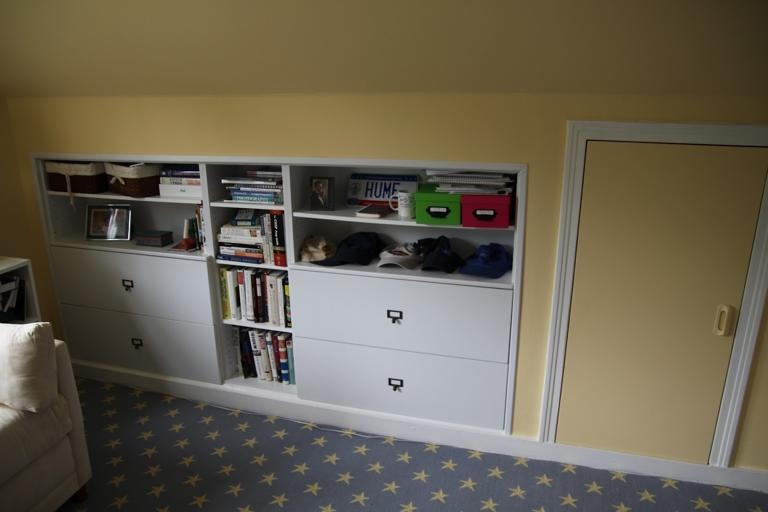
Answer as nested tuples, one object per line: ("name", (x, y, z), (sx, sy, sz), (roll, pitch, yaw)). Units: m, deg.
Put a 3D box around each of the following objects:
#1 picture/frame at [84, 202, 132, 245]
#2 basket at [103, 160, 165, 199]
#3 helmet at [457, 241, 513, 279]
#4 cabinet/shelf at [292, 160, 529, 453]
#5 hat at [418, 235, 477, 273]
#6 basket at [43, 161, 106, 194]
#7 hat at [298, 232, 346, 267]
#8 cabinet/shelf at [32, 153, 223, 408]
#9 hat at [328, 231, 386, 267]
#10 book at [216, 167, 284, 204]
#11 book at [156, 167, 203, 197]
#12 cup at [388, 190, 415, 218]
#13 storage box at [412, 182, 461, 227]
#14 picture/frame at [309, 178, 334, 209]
("picture/frame", (-1.700, -0.205, 3.408), (0.259, 0.227, 0.027), (0, -4, -6))
("basket", (-1.497, -0.464, 3.309), (0.312, 0.195, 0.216), (11, 18, 30))
("helmet", (0.557, 0.018, 2.970), (0.253, 0.114, 0.332), (10, 20, 27))
("cabinet/shelf", (0.178, 0.289, 2.970), (1.476, 1.647, 0.519), (2, 7, 14))
("hat", (0.291, -0.012, 3.091), (0.223, 0.165, 0.350), (8, 8, 23))
("basket", (-1.859, -0.478, 3.308), (0.371, 0.187, 0.111), (5, 12, 13))
("hat", (-0.355, -0.039, 3.137), (0.187, 0.063, 0.187), (7, 25, 9))
("cabinet/shelf", (-1.463, 0.058, 3.502), (1.227, 1.422, 0.498), (5, 16, 16))
("hat", (-0.143, -0.040, 3.088), (0.188, 0.093, 0.242), (17, 33, 36))
("book", (-0.754, -0.393, 3.107), (0.230, 0.177, 0.430), (-8, 15, -40))
("book", (-1.187, -0.427, 3.212), (0.273, 0.166, 0.061), (7, 13, 24))
("cup", (0.096, -0.288, 3.024), (0.083, 0.149, 0.234), (-3, 13, -23))
("storage box", (0.245, -0.235, 2.964), (0.290, 0.167, 0.293), (0, -1, -9))
("picture/frame", (-0.338, -0.348, 3.038), (0.163, 0.202, 0.066), (1, 4, 11))
